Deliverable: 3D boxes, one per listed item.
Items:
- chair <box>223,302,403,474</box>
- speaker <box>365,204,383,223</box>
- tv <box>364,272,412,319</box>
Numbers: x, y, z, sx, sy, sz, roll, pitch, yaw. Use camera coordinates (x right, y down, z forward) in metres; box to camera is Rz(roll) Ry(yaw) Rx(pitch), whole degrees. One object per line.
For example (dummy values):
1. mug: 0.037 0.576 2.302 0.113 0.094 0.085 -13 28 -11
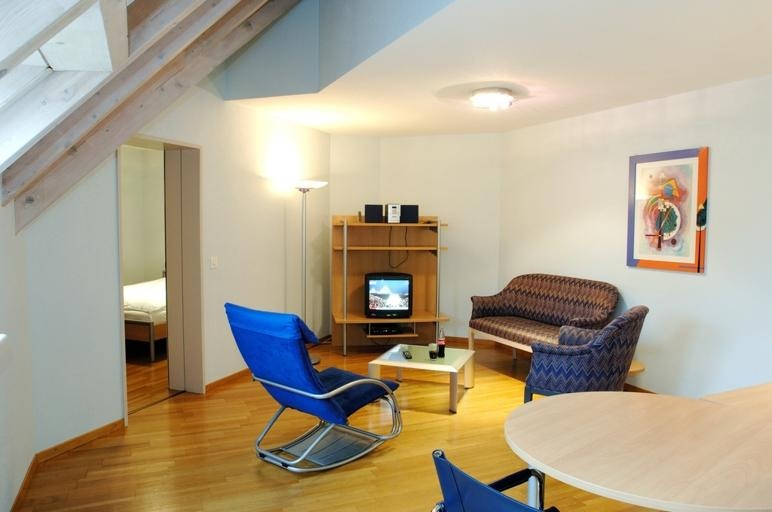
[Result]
1. chair: -0.737 1.077 5.326 1.192 1.645 1.626 2 5 41
2. speaker: -0.147 -0.549 7.303 0.246 0.222 0.227 1 7 4
3. tv: 0.033 0.493 7.436 0.866 0.760 0.507 0 1 -2
